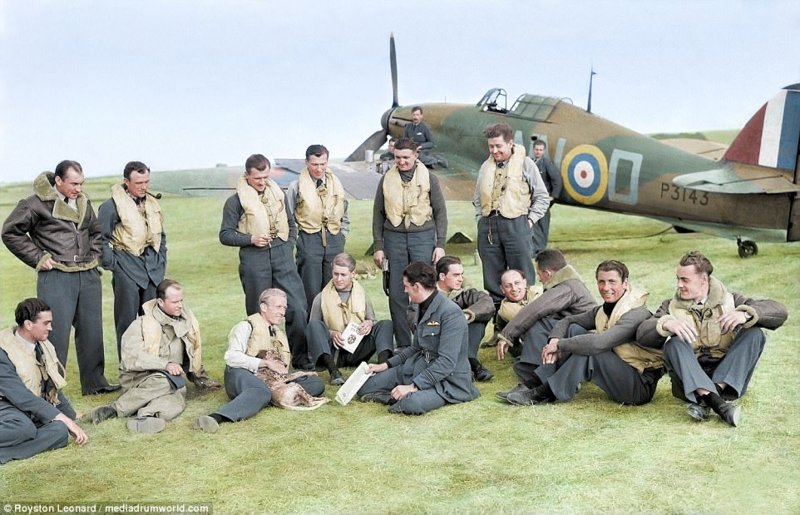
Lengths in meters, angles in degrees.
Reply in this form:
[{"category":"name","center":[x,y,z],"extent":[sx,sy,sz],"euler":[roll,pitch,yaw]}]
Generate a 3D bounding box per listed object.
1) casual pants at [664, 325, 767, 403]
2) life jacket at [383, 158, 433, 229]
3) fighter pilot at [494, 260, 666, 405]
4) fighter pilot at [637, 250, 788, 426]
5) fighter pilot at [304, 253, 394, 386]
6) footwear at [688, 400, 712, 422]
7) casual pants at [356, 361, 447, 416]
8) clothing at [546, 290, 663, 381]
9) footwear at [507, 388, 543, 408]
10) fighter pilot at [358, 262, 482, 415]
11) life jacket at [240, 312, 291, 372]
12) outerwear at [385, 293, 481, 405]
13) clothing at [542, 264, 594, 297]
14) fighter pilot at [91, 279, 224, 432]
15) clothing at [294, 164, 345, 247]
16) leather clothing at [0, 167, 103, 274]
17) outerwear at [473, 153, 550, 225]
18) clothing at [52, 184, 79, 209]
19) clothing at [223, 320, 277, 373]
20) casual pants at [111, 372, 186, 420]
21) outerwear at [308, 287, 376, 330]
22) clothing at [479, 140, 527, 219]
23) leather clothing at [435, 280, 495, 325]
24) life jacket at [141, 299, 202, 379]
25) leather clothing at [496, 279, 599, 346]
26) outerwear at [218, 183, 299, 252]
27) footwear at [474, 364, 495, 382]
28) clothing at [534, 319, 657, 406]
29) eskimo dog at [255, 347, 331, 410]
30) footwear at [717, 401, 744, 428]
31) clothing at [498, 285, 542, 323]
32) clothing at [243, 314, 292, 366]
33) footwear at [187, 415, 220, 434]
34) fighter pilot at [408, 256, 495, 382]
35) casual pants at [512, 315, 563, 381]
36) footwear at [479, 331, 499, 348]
[{"category":"casual pants","center":[2.964,0.950,7.521],"extent":[0.986,0.574,1.011],"euler":[-3,8,-1]},{"category":"life jacket","center":[0.076,-0.732,8.812],"extent":[0.571,0.738,0.263],"euler":[-2,9,0]},{"category":"fighter pilot","center":[1.948,0.790,7.729],"extent":[1.651,1.444,0.779],"euler":[3,8,-17]},{"category":"fighter pilot","center":[3.026,0.759,7.355],"extent":[1.367,1.523,1.318],"euler":[-1,-11,12]},{"category":"fighter pilot","center":[-0.579,0.662,8.404],"extent":[0.991,1.234,1.356],"euler":[-3,10,-28]},{"category":"footwear","center":[2.805,1.433,7.083],"extent":[0.112,0.115,0.265],"euler":[20,-7,31]},{"category":"casual pants","center":[-0.072,1.212,7.804],"extent":[0.551,0.206,0.710],"euler":[-11,7,-15]},{"category":"clothing","center":[2.110,0.778,7.712],"extent":[1.250,0.800,0.826],"euler":[7,9,-9]},{"category":"footwear","center":[1.278,1.415,7.667],"extent":[0.420,0.138,0.149],"euler":[5,17,-13]},{"category":"fighter pilot","center":[0.354,0.752,8.518],"extent":[1.498,1.684,1.629],"euler":[1,-4,-20]},{"category":"life jacket","center":[-1.349,0.880,8.006],"extent":[0.493,0.428,0.253],"euler":[3,6,-17]},{"category":"outerwear","center":[0.448,0.868,8.194],"extent":[1.094,1.068,1.129],"euler":[-8,5,-18]},{"category":"clothing","center":[1.851,0.233,8.369],"extent":[0.404,0.437,0.348],"euler":[-41,-17,13]},{"category":"fighter pilot","center":[-2.472,1.058,7.794],"extent":[1.581,1.161,1.296],"euler":[-9,21,-42]},{"category":"clothing","center":[-0.989,-0.612,9.030],"extent":[0.658,0.837,0.494],"euler":[-6,14,-43]},{"category":"leather clothing","center":[-3.652,-0.364,7.927],"extent":[0.931,1.047,0.340],"euler":[-5,9,-20]},{"category":"outerwear","center":[1.260,-0.826,9.212],"extent":[1.051,0.866,0.494],"euler":[2,-11,11]},{"category":"clothing","center":[-3.524,-0.639,7.964],"extent":[0.200,0.240,0.091],"euler":[-18,17,-10]},{"category":"clothing","center":[-1.600,0.973,8.038],"extent":[0.455,0.582,0.645],"euler":[6,-10,10]},{"category":"casual pants","center":[-2.509,1.385,7.553],"extent":[0.698,0.436,0.443],"euler":[-4,9,-19]},{"category":"outerwear","center":[-0.675,0.541,8.681],"extent":[0.722,0.618,0.373],"euler":[-3,17,-8]},{"category":"clothing","center":[1.258,-0.905,9.080],"extent":[0.624,0.852,0.346],"euler":[-1,9,3]},{"category":"leather clothing","center":[0.744,0.517,8.383],"extent":[0.512,0.174,0.388],"euler":[23,6,8]},{"category":"life jacket","center":[-2.430,0.863,7.959],"extent":[0.622,0.739,0.447],"euler":[-8,24,-21]},{"category":"leather clothing","center":[1.659,0.596,8.525],"extent":[1.261,0.549,0.933],"euler":[-13,-8,-8]},{"category":"outerwear","center":[-1.628,-0.549,8.674],"extent":[0.962,0.815,0.502],"euler":[-10,8,-43]},{"category":"footwear","center":[0.930,1.280,8.319],"extent":[0.103,0.112,0.264],"euler":[-13,-6,-17]},{"category":"clothing","center":[1.990,1.118,7.712],"extent":[1.195,0.525,0.621],"euler":[3,1,4]},{"category":"eskimo dog","center":[-1.137,1.335,7.827],"extent":[0.755,0.304,0.505],"euler":[29,44,26]},{"category":"footwear","center":[3.064,1.449,7.012],"extent":[0.182,0.196,0.160],"euler":[2,9,23]},{"category":"clothing","center":[1.374,0.529,8.686],"extent":[0.465,0.193,0.365],"euler":[-28,-3,39]},{"category":"clothing","center":[-1.411,0.866,7.922],"extent":[0.282,0.485,0.525],"euler":[-23,-34,37]},{"category":"footwear","center":[-1.920,1.588,7.305],"extent":[0.363,0.145,0.112],"euler":[4,10,31]},{"category":"fighter pilot","center":[0.535,0.660,8.300],"extent":[1.176,1.264,1.121],"euler":[5,3,27]},{"category":"casual pants","center":[1.416,0.974,8.173],"extent":[0.196,0.695,0.461],"euler":[26,-2,-22]},{"category":"footwear","center":[1.045,1.025,9.472],"extent":[0.371,0.227,0.132],"euler":[-1,2,-17]}]
